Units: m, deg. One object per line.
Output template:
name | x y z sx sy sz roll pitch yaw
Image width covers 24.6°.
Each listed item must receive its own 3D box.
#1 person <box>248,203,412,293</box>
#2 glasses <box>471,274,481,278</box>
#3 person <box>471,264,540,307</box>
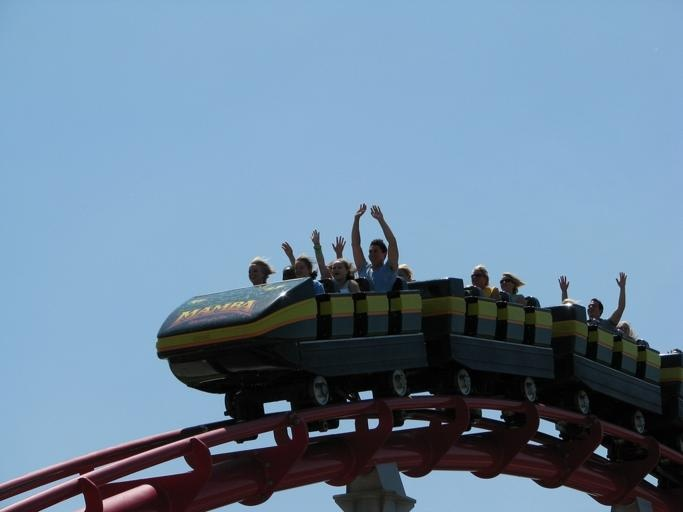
person | 0.251 -0.233 23.388 1.107 1.252 1.861 -16 -31 35
glasses | 2.051 0.305 24.043 0.146 0.036 0.150 17 -20 -31
person | 2.318 0.565 23.665 0.512 0.395 0.842 0 -14 42
